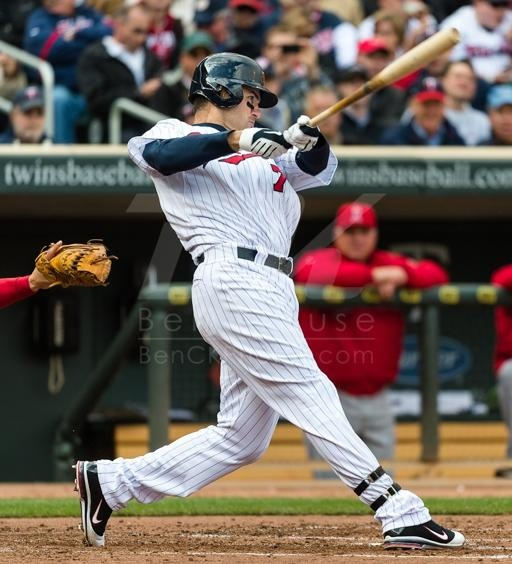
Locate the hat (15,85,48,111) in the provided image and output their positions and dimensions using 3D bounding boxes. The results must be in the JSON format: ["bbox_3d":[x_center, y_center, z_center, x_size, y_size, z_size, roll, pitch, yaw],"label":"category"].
[{"bbox_3d":[-1.038,-0.838,5.069,0.081,0.117,0.164,1,7,39],"label":"hat"}]

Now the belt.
[{"bbox_3d":[-0.039,-0.059,3.442,0.302,0.102,0.144,-3,5,0],"label":"belt"}]

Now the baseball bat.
[{"bbox_3d":[0.313,-0.553,3.191,0.200,0.162,1.518,-16,14,20],"label":"baseball bat"}]

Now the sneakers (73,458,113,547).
[{"bbox_3d":[-0.523,0.716,3.582,0.159,0.254,0.099,-2,-5,-21],"label":"sneakers"}]

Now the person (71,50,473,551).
[{"bbox_3d":[-0.037,0.067,3.433,1.151,1.584,0.519,-5,7,-9],"label":"person"}]

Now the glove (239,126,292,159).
[{"bbox_3d":[0.023,-0.399,3.155,0.144,0.066,0.047,4,-40,-11],"label":"glove"}]

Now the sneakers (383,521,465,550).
[{"bbox_3d":[0.515,0.779,3.378,0.275,0.082,0.086,0,-8,-8],"label":"sneakers"}]

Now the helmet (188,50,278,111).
[{"bbox_3d":[-0.066,-0.634,3.486,0.279,0.129,0.179,2,-2,0],"label":"helmet"}]
